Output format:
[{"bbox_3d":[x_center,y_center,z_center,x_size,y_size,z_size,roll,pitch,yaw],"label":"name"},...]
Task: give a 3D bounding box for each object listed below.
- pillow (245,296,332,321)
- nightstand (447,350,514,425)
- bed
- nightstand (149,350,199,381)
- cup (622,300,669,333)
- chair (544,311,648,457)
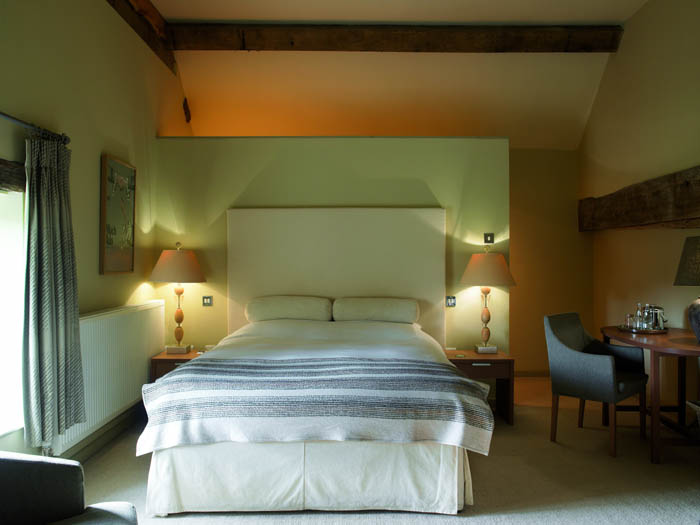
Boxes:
[{"bbox_3d":[-0.622,0.466,5.679,0.651,0.230,0.369,-2,-8,1],"label":"pillow"},{"bbox_3d":[1.322,1.127,5.716,0.741,0.817,0.590,-1,-1,3],"label":"nightstand"},{"bbox_3d":[-0.372,0.626,4.997,3.217,1.999,2.900,3,12,15],"label":"bed"},{"bbox_3d":[-1.774,0.969,5.563,0.370,0.399,0.277,0,-1,-7],"label":"nightstand"},{"bbox_3d":[2.776,0.522,5.258,0.327,0.267,0.323,-1,2,0],"label":"cup"},{"bbox_3d":[2.298,1.050,5.367,0.978,1.563,1.051,2,-4,-42],"label":"chair"}]
